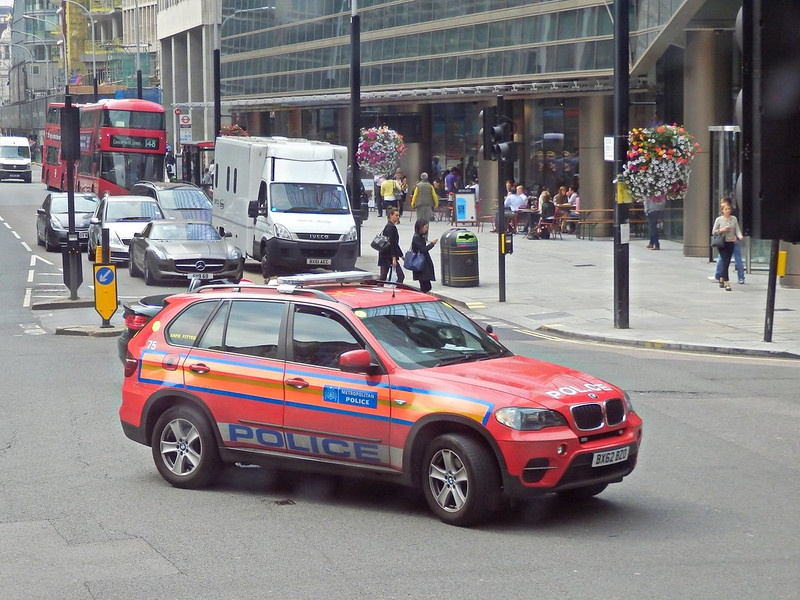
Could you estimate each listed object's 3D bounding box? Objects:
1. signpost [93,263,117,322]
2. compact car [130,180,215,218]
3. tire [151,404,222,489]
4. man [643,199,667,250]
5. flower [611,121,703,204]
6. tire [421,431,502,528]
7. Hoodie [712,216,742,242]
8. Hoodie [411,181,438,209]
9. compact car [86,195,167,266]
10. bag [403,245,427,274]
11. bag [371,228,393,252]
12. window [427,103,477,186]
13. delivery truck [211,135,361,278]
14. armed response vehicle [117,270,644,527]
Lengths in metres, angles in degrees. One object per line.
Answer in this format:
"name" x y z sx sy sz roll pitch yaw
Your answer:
"signpost" -5.780 -0.119 18.889 0.394 1.208 0.423 -3 7 -19
"compact car" -7.405 -3.295 31.903 1.392 1.277 3.075 -2 5 -26
"tire" -2.139 1.465 9.699 0.737 0.799 0.273 -3 0 25
"man" 8.763 -2.690 33.373 0.513 2.007 0.853 -7 -17 36
"flower" 5.230 -2.774 19.735 1.349 1.892 1.808 3 3 -1
"tire" 0.504 1.535 8.292 0.261 0.785 0.734 -5 -1 -40
"Hoodie" 8.063 -1.743 23.632 0.639 0.632 0.548 1 7 7
"Hoodie" 0.916 -3.962 36.138 0.813 0.993 0.994 0 7 6
"compact car" -8.522 -2.335 29.364 1.861 1.558 3.304 -1 4 -18
"bag" 0.353 -0.956 22.042 0.597 0.918 0.418 1 5 3
"bag" -0.437 -1.348 22.410 0.374 0.448 0.547 -2 7 -10
"window" 3.188 -7.885 49.374 2.955 4.831 3.166 -4 9 4
"delivery truck" -3.470 -2.847 29.474 2.941 3.997 7.017 0 9 -21
"armed response vehicle" -0.137 0.867 9.332 4.237 1.785 2.291 2 6 28
